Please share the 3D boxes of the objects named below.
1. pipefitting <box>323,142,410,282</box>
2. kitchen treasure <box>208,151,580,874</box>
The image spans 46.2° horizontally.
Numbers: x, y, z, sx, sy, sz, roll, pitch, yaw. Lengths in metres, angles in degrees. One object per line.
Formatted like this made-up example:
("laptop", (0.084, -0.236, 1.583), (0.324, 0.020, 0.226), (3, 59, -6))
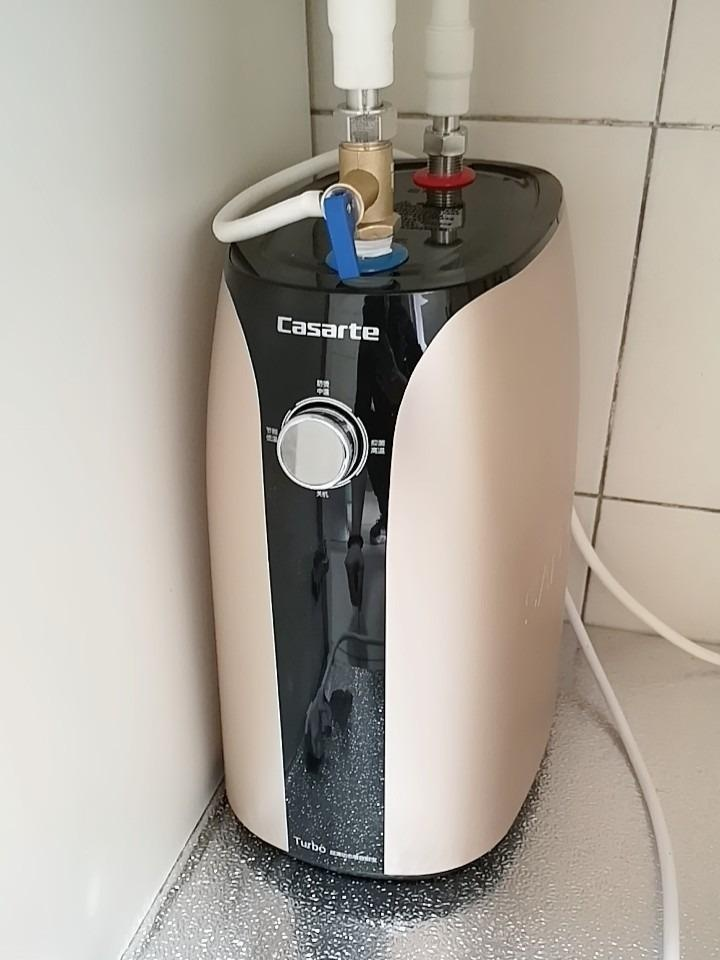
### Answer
("pipefitting", (0.005, -0.135, 0.427), (0.041, 0.063, 0.085), (2, 28, 13))
("kitchen treasure", (0.046, 0.028, 0.564), (0.189, 0.401, 0.282), (17, 35, 27))
